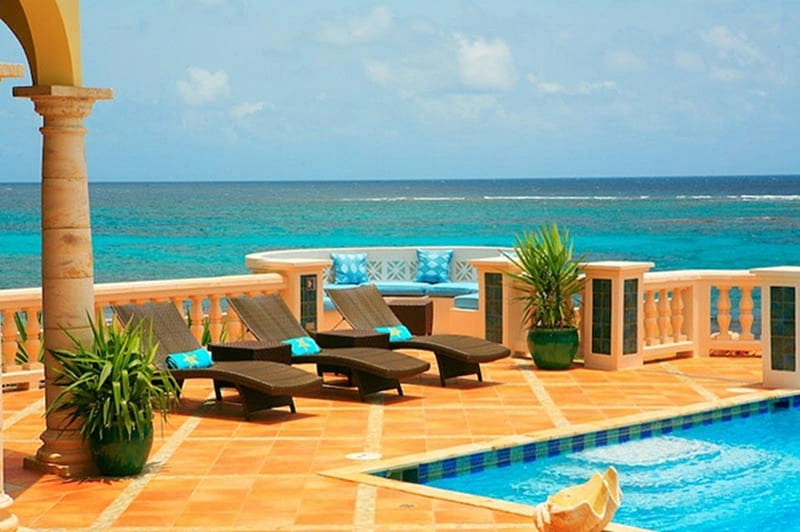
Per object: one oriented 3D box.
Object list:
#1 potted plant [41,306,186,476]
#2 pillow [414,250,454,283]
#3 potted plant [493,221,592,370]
[{"bbox_3d":[-2.432,1.112,5.708,1.009,1.351,0.465,2,4,8],"label":"potted plant"},{"bbox_3d":[0.717,-0.011,13.852,0.705,0.634,0.238,2,-30,10],"label":"pillow"},{"bbox_3d":[2.259,0.592,10.050,1.140,1.944,1.267,2,-6,-31],"label":"potted plant"}]
